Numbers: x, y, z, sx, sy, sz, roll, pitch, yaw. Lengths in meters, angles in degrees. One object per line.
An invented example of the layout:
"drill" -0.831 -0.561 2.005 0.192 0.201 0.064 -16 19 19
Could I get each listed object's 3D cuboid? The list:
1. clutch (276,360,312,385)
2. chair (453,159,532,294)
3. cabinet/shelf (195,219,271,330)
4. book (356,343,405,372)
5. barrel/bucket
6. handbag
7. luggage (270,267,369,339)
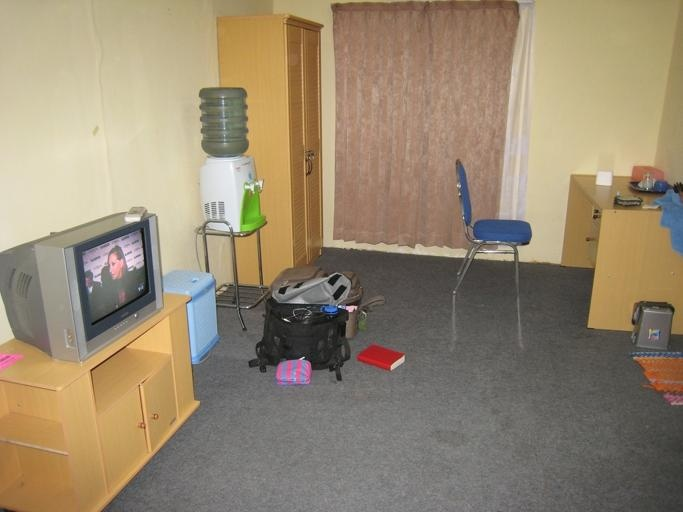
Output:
"clutch" -0.299 0.724 3.355 0.216 0.103 0.148 -1 19 -1
"chair" 1.268 -0.279 4.579 0.642 1.105 0.972 4 19 13
"cabinet/shelf" -0.841 0.133 4.134 0.429 0.825 0.487 5 30 4
"book" 0.284 0.668 3.587 0.277 0.056 0.260 12 23 34
"barrel/bucket" -0.875 -1.005 3.987 0.359 0.484 0.369 -1 19 0
"handbag" -0.235 0.519 3.398 0.540 0.380 0.467 3 10 2
"luggage" -0.302 0.397 3.797 0.754 0.479 0.760 -5 2 -20
